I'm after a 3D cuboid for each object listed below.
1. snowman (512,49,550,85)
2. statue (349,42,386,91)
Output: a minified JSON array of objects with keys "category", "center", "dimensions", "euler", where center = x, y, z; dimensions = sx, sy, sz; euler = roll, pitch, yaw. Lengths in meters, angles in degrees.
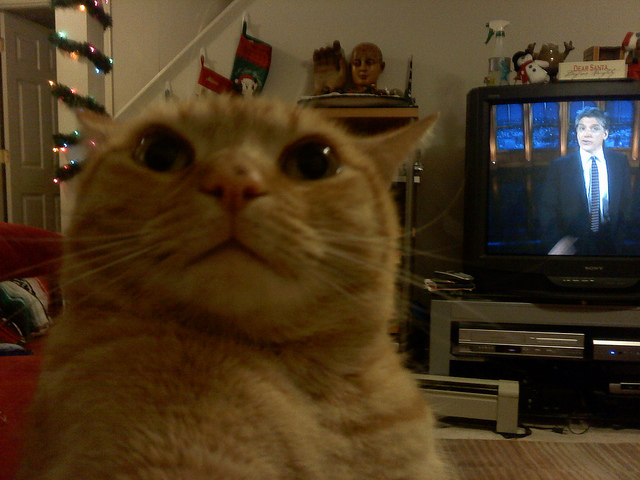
[{"category":"snowman","center":[0.627,-0.520,1.892],"dimensions":[0.113,0.109,0.113],"euler":[6,8,16]},{"category":"statue","center":[0.073,-0.277,1.030],"dimensions":[0.052,0.088,0.055],"euler":[4,11,25]}]
